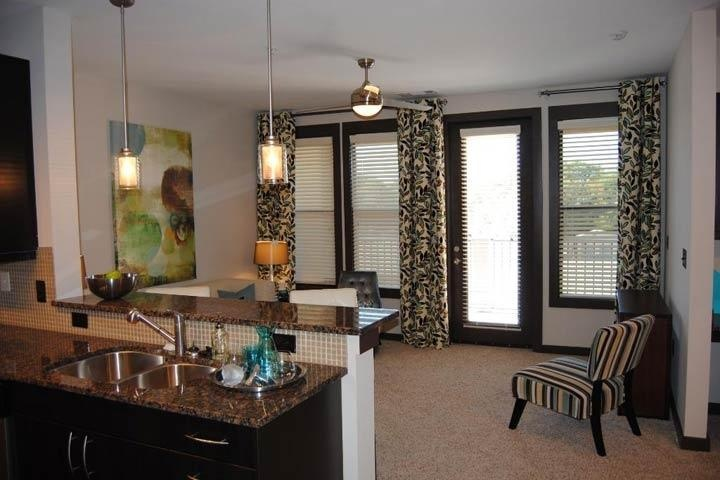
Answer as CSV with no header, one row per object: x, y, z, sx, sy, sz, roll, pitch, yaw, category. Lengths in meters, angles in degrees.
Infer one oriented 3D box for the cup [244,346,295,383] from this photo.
-0.569,0.790,3.479,0.271,0.135,0.207,2,-4,10,cup

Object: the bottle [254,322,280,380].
-0.571,0.704,3.416,0.147,0.312,0.147,-1,11,0,bottle

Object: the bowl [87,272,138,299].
-1.929,0.358,4.260,0.238,0.132,0.242,-2,-1,0,bowl

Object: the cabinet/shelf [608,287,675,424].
2.535,1.096,4.950,0.300,0.681,1.170,0,4,20,cabinet/shelf

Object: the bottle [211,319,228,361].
-0.951,0.690,3.730,0.091,0.255,0.087,-1,11,0,bottle

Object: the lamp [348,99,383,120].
0.043,-1.213,5.183,0.248,0.119,0.301,-3,12,-11,lamp

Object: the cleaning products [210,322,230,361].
-0.953,0.694,3.770,0.136,0.249,0.130,-4,4,-32,cleaning products

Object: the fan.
0.064,-1.425,5.151,1.340,0.540,1.355,-9,13,-8,fan

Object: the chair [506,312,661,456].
1.953,1.188,4.968,0.811,1.091,0.986,-6,6,-35,chair

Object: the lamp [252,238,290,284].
-1.174,0.324,7.304,0.436,0.660,0.445,11,14,36,lamp

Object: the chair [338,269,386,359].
-0.032,0.971,6.953,0.655,1.054,0.609,2,7,-1,chair

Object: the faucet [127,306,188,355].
-1.399,0.629,3.798,0.437,0.296,0.094,5,6,2,faucet

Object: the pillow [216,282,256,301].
-1.449,0.593,6.322,0.035,0.161,0.262,-24,-12,33,pillow
